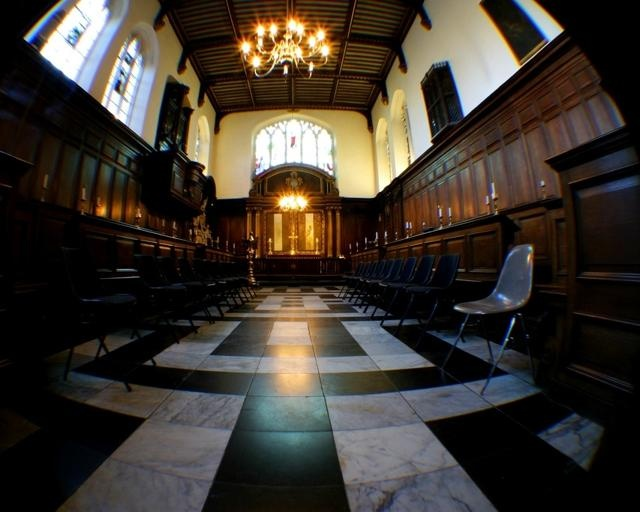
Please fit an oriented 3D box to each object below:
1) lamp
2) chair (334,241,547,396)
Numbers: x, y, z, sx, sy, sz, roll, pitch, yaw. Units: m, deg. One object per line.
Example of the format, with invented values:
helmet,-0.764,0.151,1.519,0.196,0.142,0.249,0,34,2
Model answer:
lamp,-0.696,-4.345,8.230,1.518,1.114,1.618,-2,-5,-32
chair,1.068,0.534,3.323,0.869,1.614,0.829,3,-7,-9
